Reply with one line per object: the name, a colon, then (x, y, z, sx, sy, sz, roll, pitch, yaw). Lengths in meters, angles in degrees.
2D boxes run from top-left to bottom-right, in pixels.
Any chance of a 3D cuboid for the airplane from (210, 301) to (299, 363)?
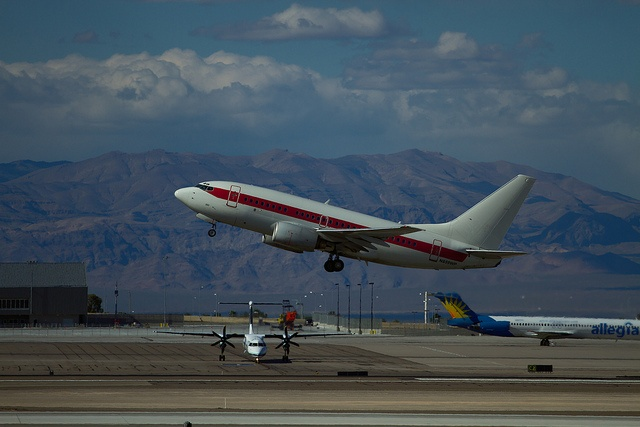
airplane: (-10.434, 27.905, 296.807, 28.459, 7.273, 27.638, -4, 8, -25)
